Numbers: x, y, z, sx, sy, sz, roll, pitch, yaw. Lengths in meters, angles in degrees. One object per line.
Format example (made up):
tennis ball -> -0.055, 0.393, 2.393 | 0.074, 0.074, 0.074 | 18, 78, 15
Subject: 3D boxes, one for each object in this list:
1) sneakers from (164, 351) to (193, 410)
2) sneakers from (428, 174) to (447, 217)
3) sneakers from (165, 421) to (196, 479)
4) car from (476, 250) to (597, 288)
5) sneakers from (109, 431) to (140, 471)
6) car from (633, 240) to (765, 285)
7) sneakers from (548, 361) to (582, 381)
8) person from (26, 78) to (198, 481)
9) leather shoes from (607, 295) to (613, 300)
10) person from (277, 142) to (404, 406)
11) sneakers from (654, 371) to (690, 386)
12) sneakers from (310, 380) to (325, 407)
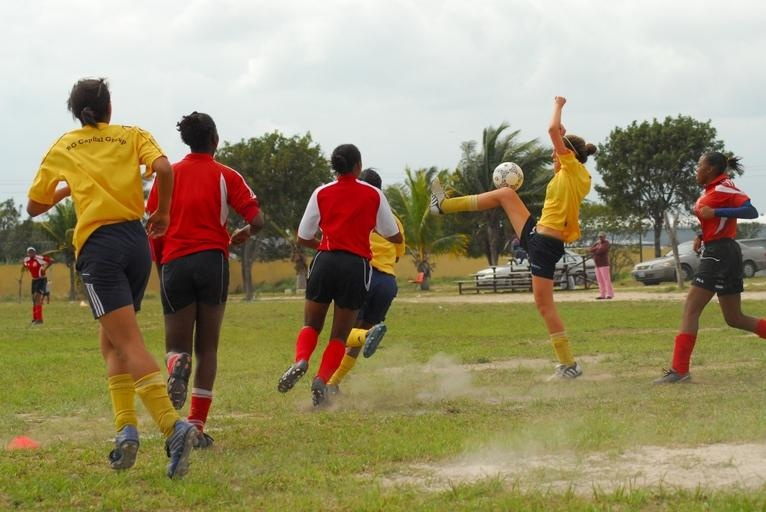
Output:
sneakers -> -1.757, 1.060, 7.370 | 0.175, 0.559, 0.263 | 4, -2, -9
sneakers -> 0.697, -0.809, 10.929 | 0.218, 0.562, 0.182 | 1, -19, 17
sneakers -> -1.658, 1.546, 6.847 | 0.206, 0.510, 0.167 | 6, -1, 17
car -> 5.743, 0.620, 31.027 | 4.119, 1.526, 2.021 | 0, -2, -4
sneakers -> -2.135, 1.576, 6.984 | 0.227, 0.346, 0.263 | -2, 1, -23
car -> 8.497, 0.208, 22.726 | 3.863, 1.281, 1.580 | -1, -3, -14
sneakers -> 2.161, 1.348, 10.010 | 0.349, 0.149, 0.261 | -2, 1, 12
person -> -2.281, 0.116, 7.170 | 1.153, 3.366, 1.316 | -2, 1, -24
leather shoes -> 6.073, 1.117, 22.712 | 0.094, 0.055, 0.130 | 5, 2, -15
person -> -0.408, 0.173, 8.778 | 1.000, 2.342, 0.474 | -2, 1, -5
sneakers -> 3.249, 1.382, 9.657 | 0.458, 0.197, 0.161 | 1, 0, -3
sneakers -> -0.641, 1.419, 8.661 | 0.108, 0.324, 0.166 | 15, 36, 24
